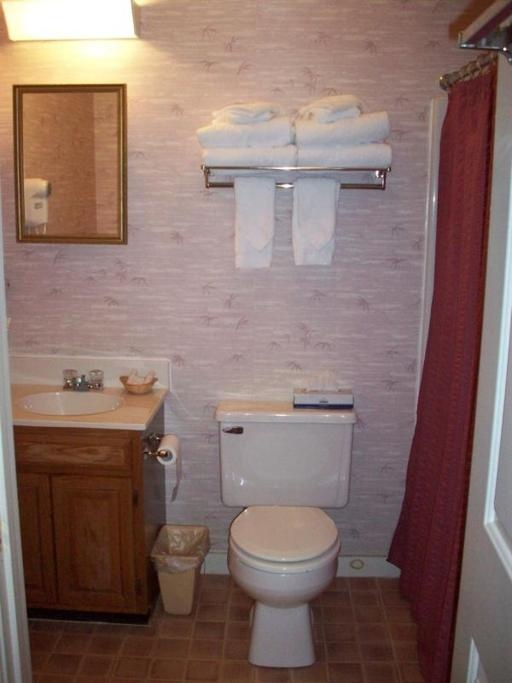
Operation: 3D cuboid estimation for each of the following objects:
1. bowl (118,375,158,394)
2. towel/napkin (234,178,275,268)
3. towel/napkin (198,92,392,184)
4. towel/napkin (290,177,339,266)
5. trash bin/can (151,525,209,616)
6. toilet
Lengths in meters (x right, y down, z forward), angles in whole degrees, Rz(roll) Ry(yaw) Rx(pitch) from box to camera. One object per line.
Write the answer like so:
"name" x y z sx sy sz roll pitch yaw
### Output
"bowl" -0.448 0.157 2.242 0.093 0.038 0.092 2 10 0
"towel/napkin" -0.007 -0.427 2.137 0.162 0.284 0.073 0 7 0
"towel/napkin" 0.142 -0.652 2.000 0.450 0.182 0.337 -1 15 1
"towel/napkin" 0.209 -0.423 2.107 0.178 0.291 0.039 -3 9 -17
"trash bin/can" -0.274 0.829 2.265 0.251 0.279 0.291 0 4 0
"toilet" 0.075 0.653 2.104 0.531 0.757 0.734 1 8 4
